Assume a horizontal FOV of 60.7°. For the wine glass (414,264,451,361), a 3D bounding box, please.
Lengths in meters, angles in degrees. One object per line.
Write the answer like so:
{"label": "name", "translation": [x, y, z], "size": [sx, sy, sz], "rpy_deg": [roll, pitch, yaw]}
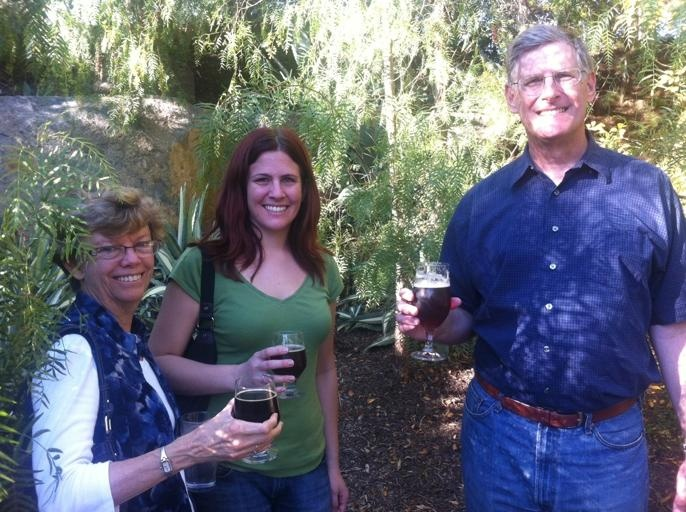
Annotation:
{"label": "wine glass", "translation": [0.342, 0.221, 2.295], "size": [0.156, 0.407, 0.270], "rpy_deg": [0, 6, 7]}
